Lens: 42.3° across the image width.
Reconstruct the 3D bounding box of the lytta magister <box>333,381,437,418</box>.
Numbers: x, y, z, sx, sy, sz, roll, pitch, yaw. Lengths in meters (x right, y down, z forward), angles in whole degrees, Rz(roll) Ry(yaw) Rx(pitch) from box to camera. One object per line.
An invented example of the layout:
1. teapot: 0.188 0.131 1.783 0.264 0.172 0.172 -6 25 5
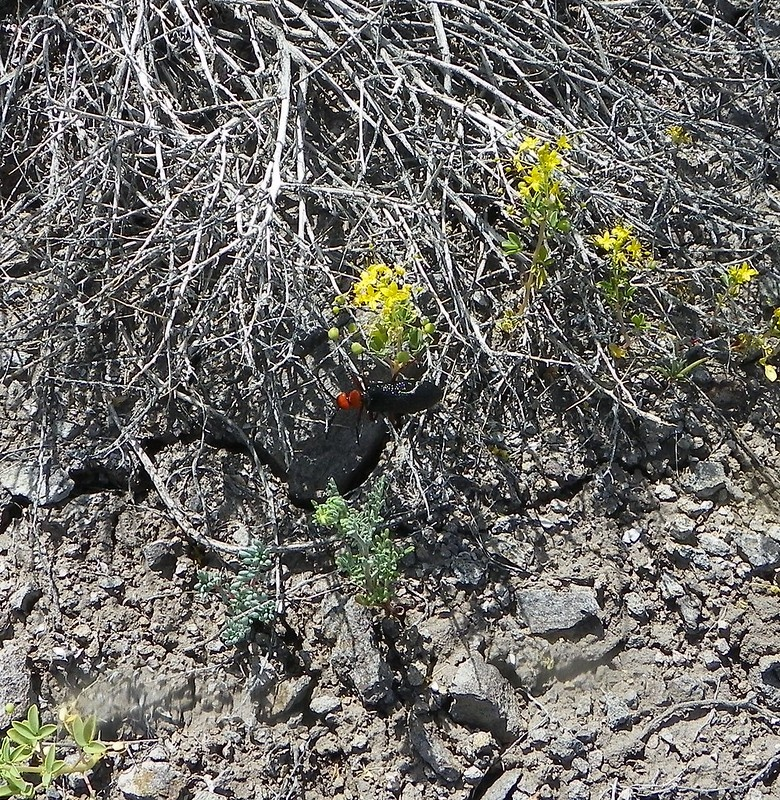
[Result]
1. lytta magister: -0.010 -0.012 3.634 0.333 0.120 0.144 -6 2 22
